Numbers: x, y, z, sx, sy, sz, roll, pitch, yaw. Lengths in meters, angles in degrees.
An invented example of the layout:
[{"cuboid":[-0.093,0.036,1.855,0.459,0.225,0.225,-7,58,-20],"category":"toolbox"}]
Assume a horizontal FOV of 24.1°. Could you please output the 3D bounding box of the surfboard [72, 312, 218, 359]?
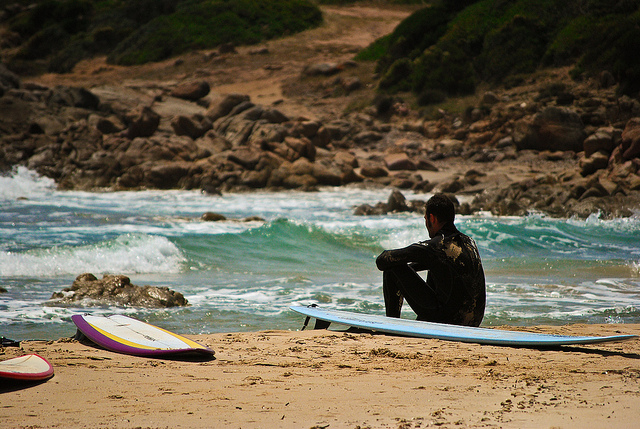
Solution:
[{"cuboid":[-9.268,6.188,74.642,5.891,0.860,2.722,19,12,32],"category":"surfboard"}]
